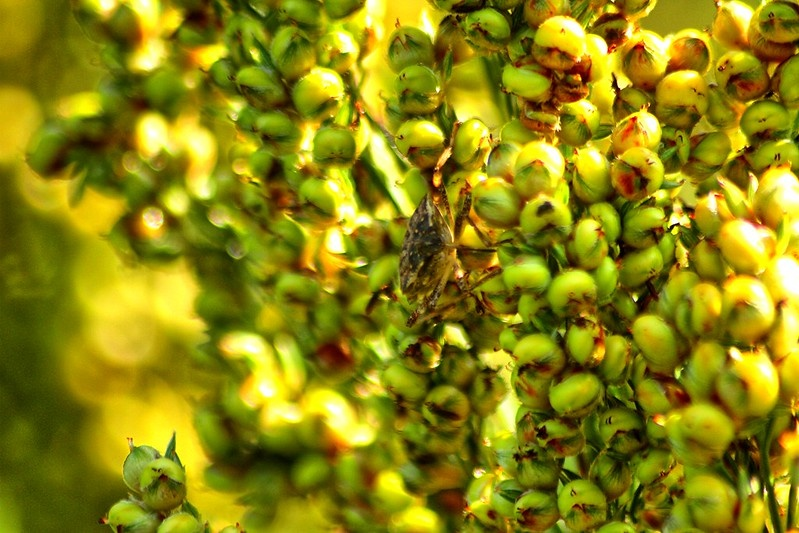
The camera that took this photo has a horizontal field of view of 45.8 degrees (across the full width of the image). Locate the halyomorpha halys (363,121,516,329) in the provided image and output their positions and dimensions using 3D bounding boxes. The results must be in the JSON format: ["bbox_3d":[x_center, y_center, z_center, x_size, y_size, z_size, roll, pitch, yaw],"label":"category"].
[{"bbox_3d":[0.031,-0.041,0.921,0.049,0.184,0.141,1,38,-30],"label":"halyomorpha halys"}]
